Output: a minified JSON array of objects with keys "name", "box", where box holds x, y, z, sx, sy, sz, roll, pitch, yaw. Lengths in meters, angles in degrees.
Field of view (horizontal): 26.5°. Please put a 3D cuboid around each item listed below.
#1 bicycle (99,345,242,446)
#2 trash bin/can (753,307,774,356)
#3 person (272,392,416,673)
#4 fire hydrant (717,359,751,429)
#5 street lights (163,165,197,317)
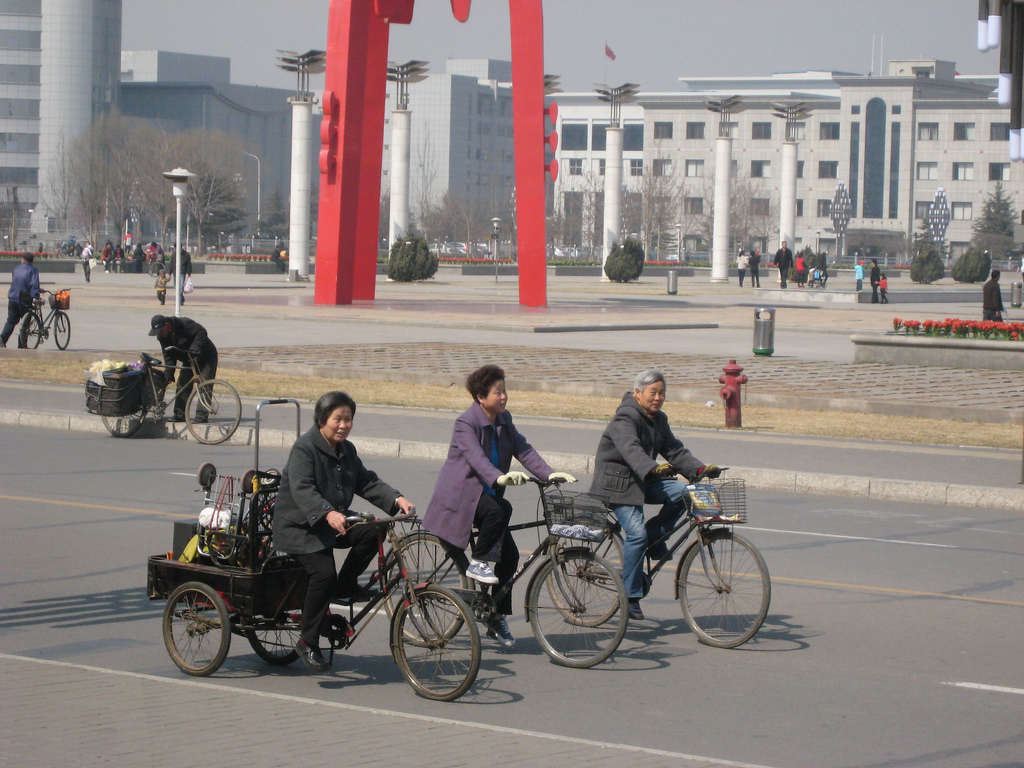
[{"name":"bicycle","box":[-5.172,0.126,32.507,2.215,1.460,1.169,3,12,6]},{"name":"trash bin/can","box":[5.130,-1.078,44.508,0.385,0.967,0.547,1,10,3]},{"name":"person","box":[-1.800,1.404,22.317,1.311,2.834,1.170,0,0,30]},{"name":"fire hydrant","box":[3.426,0.089,33.892,0.354,1.090,0.836,2,10,6]},{"name":"street lights","box":[-6.669,-2.776,43.685,0.656,3.368,0.762,-3,-26,-4]}]
